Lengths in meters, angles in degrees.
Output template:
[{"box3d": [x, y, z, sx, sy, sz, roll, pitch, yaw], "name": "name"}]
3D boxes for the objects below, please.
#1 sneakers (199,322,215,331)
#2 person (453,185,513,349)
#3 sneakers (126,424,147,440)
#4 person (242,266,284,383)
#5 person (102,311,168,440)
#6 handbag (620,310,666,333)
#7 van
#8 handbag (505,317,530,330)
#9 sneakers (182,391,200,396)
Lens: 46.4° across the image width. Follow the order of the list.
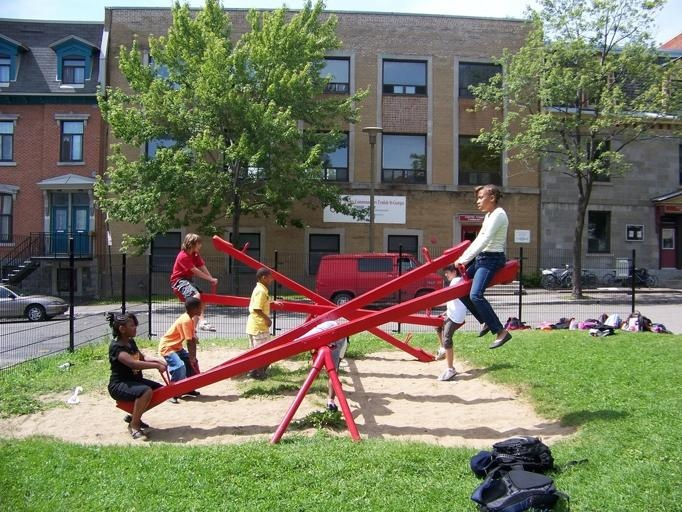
[{"box3d": [-3.823, 2.016, 22.781, 0.561, 0.261, 0.193, 4, 5, -14], "name": "sneakers"}, {"box3d": [2.937, 0.278, 16.104, 0.995, 3.399, 1.002, 1, 12, 11], "name": "person"}, {"box3d": [-3.894, 3.442, 15.431, 0.191, 0.130, 0.479, 17, 7, -5], "name": "sneakers"}, {"box3d": [-1.784, 1.547, 18.351, 0.678, 2.515, 1.374, -2, 11, -4], "name": "person"}, {"box3d": [-4.025, 2.307, 15.613, 1.065, 2.274, 0.783, 8, 14, 37], "name": "person"}, {"box3d": [8.206, 1.846, 21.431, 0.945, 0.373, 0.733, 2, -2, 4], "name": "handbag"}, {"box3d": [1.237, 0.898, 28.453, 3.907, 1.925, 2.112, -1, -1, -1], "name": "van"}, {"box3d": [5.134, 1.992, 23.095, 0.625, 0.289, 0.484, 3, 0, -4], "name": "handbag"}, {"box3d": [-3.216, 2.992, 17.258, 0.367, 0.159, 0.154, 0, 1, -7], "name": "sneakers"}]
